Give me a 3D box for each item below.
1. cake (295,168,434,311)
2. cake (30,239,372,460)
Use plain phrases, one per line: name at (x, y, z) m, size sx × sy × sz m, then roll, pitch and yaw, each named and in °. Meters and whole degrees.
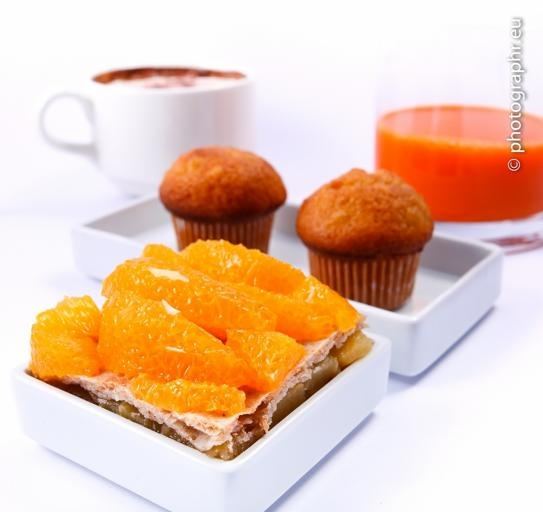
cake at (0.146, -0.037, 1.149) m, size 0.304 × 0.249 × 0.272 m, roll -8°, pitch 18°, yaw -18°
cake at (-0.103, 0.101, 0.709) m, size 0.298 × 0.089 × 0.290 m, roll 20°, pitch 34°, yaw 32°
